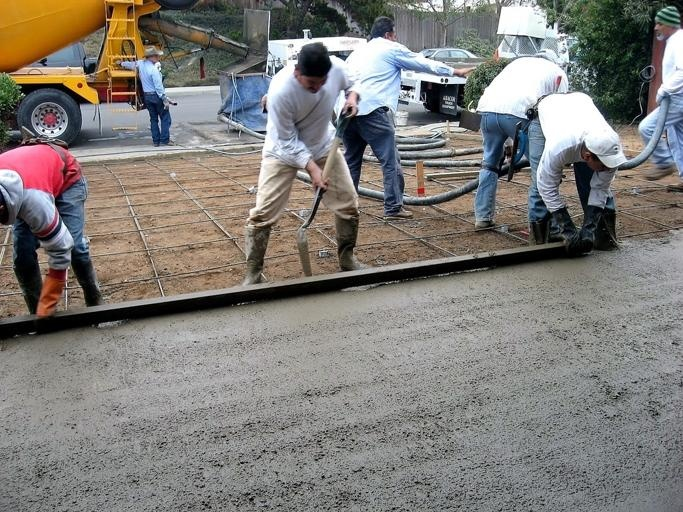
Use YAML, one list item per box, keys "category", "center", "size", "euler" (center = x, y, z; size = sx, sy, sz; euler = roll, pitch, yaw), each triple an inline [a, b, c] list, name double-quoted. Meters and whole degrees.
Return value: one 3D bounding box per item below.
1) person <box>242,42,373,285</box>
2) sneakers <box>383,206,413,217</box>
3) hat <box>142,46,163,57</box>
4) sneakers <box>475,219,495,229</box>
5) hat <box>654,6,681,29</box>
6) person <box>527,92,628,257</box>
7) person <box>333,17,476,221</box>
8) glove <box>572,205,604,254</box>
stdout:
- category: "person"
  center: [-0.323, -0.574, 3.056]
  size: [0.831, 1.563, 0.832]
  euler: [1, 14, 7]
- category: "sneakers"
  center: [0.560, -0.432, 4.446]
  size: [0.261, 0.103, 0.110]
  euler: [-3, 20, -16]
- category: "hat"
  center: [-3.539, -3.845, 8.311]
  size: [0.349, 0.108, 0.276]
  euler: [-5, 10, -2]
- category: "sneakers"
  center: [1.314, -0.294, 4.133]
  size: [0.188, 0.075, 0.060]
  euler: [-10, 41, -13]
- category: "hat"
  center: [3.451, -2.537, 4.699]
  size: [0.215, 0.259, 0.263]
  euler: [10, 17, 38]
- category: "person"
  center: [1.728, -0.612, 3.334]
  size: [0.697, 1.218, 0.817]
  euler: [7, 16, 29]
- category: "person"
  center: [0.605, -1.367, 4.398]
  size: [1.448, 1.681, 1.190]
  euler: [6, 14, 24]
- category: "glove"
  center: [1.896, -0.230, 3.418]
  size: [0.116, 0.298, 0.335]
  euler: [17, 38, 35]
